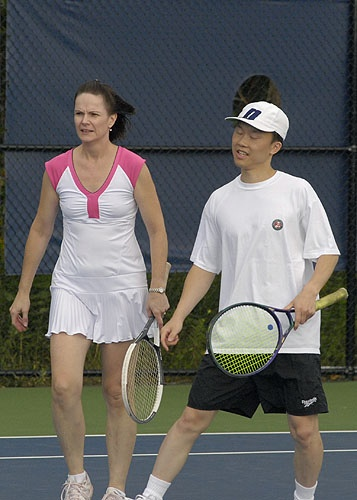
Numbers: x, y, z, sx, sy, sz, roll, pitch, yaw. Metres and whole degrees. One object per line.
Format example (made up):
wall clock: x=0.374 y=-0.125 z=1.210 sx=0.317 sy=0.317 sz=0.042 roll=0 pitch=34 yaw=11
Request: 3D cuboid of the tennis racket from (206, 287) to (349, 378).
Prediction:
tennis racket: x=0.355 y=0.255 z=2.258 sx=0.607 sy=0.245 sz=0.048 roll=-22 pitch=-4 yaw=-27

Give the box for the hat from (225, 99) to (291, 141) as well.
hat: x=0.299 y=-0.473 z=2.359 sx=0.141 sy=0.094 sz=0.186 roll=22 pitch=-5 yaw=45
